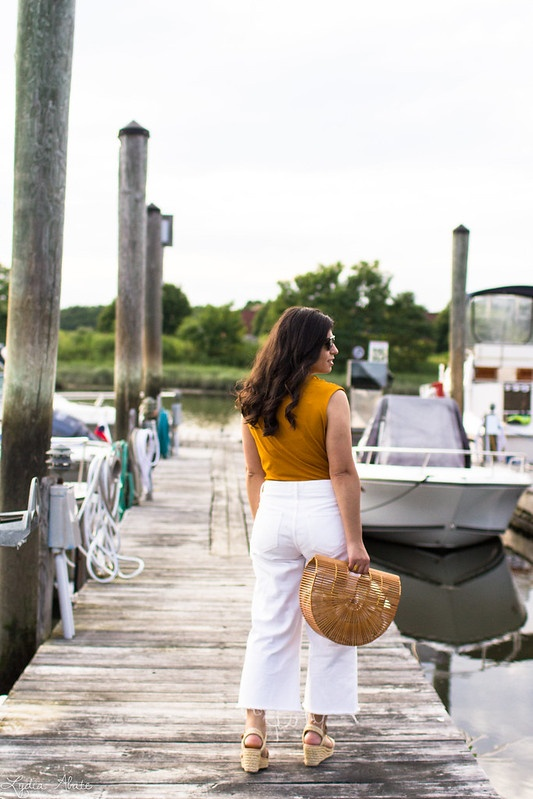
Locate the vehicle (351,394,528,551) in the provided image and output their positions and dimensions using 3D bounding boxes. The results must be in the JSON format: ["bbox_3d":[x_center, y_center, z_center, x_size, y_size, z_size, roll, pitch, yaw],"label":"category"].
[{"bbox_3d":[1.492,0.656,10.923,0.896,1.052,2.133,0,-1,-1],"label":"vehicle"}]

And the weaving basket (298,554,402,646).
[{"bbox_3d":[0.343,0.877,5.304,0.507,0.464,0.176,9,-4,-15],"label":"weaving basket"}]

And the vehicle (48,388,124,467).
[{"bbox_3d":[-1.936,0.275,13.070,0.684,0.630,1.230,-1,1,9],"label":"vehicle"}]

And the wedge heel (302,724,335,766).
[{"bbox_3d":[0.225,1.543,5.499,0.081,0.173,0.229,-1,-2,19],"label":"wedge heel"}]
